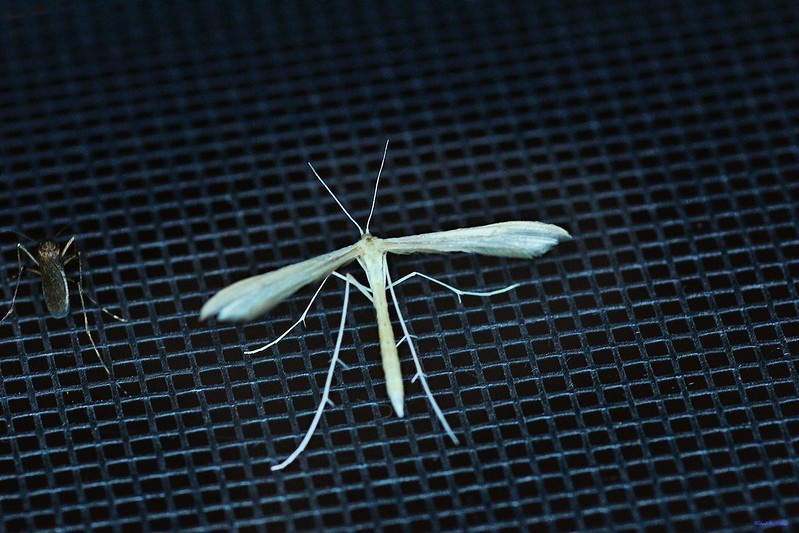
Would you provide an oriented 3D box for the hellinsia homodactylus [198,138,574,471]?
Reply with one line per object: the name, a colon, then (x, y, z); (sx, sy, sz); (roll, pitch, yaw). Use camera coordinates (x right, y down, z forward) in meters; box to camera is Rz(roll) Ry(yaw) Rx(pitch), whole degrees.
hellinsia homodactylus: (-0.078, 0.098, 6.086); (2.531, 0.624, 1.897); (-11, 58, -9)
